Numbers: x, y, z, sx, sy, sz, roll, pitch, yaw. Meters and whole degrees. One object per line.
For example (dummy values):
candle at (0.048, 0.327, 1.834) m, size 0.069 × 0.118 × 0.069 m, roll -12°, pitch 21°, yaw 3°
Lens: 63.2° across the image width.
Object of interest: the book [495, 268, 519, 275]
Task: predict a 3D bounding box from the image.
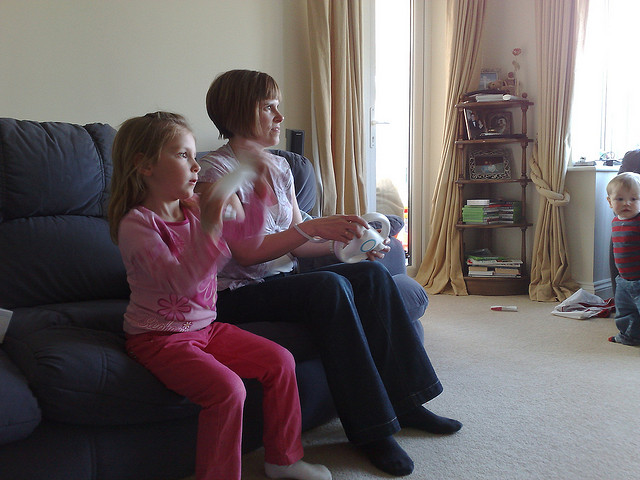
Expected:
book at (1.458, 0.241, 4.038) m, size 0.167 × 0.043 × 0.017 m, roll 0°, pitch 8°, yaw 11°

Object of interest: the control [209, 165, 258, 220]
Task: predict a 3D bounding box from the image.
control at (-0.188, -0.096, 1.080) m, size 0.089 × 0.117 × 0.129 m, roll -5°, pitch 8°, yaw -23°

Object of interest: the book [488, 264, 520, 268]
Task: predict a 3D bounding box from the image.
book at (1.450, 0.202, 4.037) m, size 0.210 × 0.029 × 0.025 m, roll 0°, pitch 8°, yaw 7°

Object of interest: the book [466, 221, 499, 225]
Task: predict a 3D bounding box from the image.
book at (1.301, -0.135, 4.090) m, size 0.265 × 0.014 × 0.102 m, roll -1°, pitch 8°, yaw -2°

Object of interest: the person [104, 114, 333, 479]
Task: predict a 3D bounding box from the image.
person at (-0.323, 0.178, 1.588) m, size 0.470 × 1.129 × 0.539 m, roll -8°, pitch 10°, yaw -41°

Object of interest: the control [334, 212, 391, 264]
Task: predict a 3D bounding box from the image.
control at (0.143, -0.005, 1.754) m, size 0.127 × 0.126 × 0.125 m, roll 25°, pitch 12°, yaw -42°

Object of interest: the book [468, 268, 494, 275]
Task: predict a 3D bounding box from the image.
book at (1.277, 0.248, 4.081) m, size 0.184 × 0.056 × 0.035 m, roll 1°, pitch 8°, yaw 19°

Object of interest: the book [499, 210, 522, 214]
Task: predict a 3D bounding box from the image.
book at (1.532, -0.221, 4.133) m, size 0.176 × 0.023 × 0.081 m, roll -1°, pitch 8°, yaw 2°
